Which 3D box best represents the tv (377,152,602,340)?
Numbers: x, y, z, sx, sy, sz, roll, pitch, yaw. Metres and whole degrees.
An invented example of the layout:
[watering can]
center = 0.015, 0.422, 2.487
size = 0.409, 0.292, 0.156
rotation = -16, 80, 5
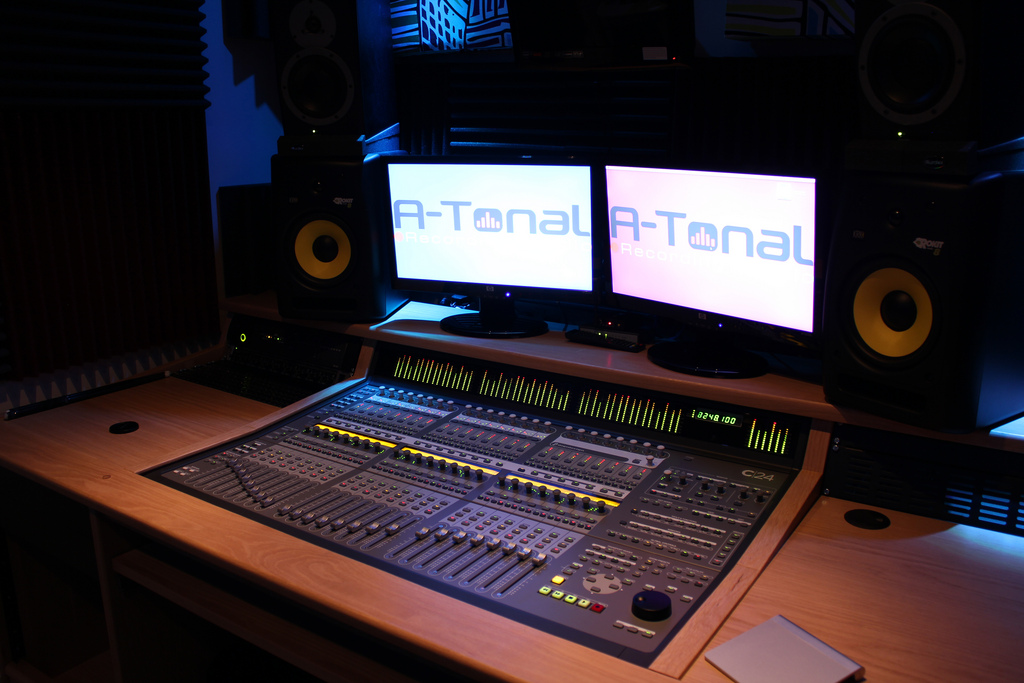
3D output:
[tv]
center = -0.074, -0.341, 2.478
size = 0.653, 0.453, 0.227
rotation = 6, 22, 19
